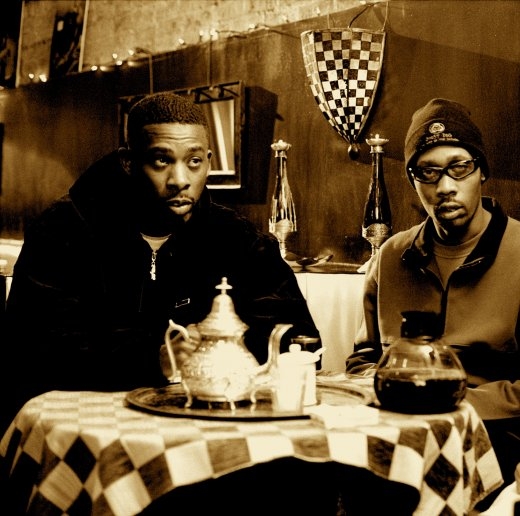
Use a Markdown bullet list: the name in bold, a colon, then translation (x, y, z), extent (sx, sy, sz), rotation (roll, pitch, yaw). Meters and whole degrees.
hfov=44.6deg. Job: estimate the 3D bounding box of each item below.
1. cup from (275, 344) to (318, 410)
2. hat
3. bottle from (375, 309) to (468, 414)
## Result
- **cup**: translation (0.084, 0.293, 1.528), extent (0.127, 0.151, 0.086), rotation (-1, -7, 12)
- **hat**: translation (0.734, -0.439, 2.557), extent (0.245, 0.347, 0.337), rotation (-11, 52, 28)
- **bottle**: translation (0.383, 0.241, 1.537), extent (0.207, 0.250, 0.232), rotation (0, -7, 1)
